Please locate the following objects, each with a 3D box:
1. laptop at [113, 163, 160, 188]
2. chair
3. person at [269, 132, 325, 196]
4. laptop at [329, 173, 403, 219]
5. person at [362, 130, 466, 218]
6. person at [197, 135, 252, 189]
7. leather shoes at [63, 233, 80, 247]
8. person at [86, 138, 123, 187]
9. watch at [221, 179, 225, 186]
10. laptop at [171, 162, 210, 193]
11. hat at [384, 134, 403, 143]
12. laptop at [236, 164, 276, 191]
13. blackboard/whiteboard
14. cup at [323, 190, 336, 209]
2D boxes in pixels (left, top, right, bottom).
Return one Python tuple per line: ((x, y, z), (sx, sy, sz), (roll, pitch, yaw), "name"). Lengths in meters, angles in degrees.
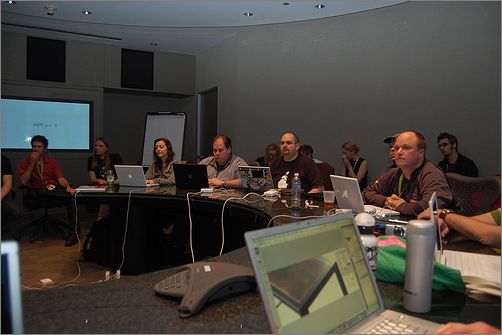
((-1.284, 0.101, 3.785), (0.402, 0.218, 0.388), (2, -4, 7), "laptop")
((-2.991, 0.524, 4.853), (0.670, 0.900, 0.686), (0, -15, -33), "chair")
((0.475, -0.045, 3.961), (0.462, 0.707, 0.780), (-6, 8, -41), "person")
((0.805, 0.189, 2.451), (0.300, 0.202, 0.334), (-1, 0, -20), "laptop")
((1.349, 0.079, 2.775), (0.629, 0.713, 0.878), (-1, -1, -13), "person")
((-0.345, -0.026, 4.074), (0.768, 0.707, 0.420), (4, 5, 25), "person")
((-2.372, 0.974, 4.420), (0.126, 0.146, 0.368), (1, -9, -9), "leather shoes")
((-2.325, -0.050, 5.226), (0.561, 0.767, 0.658), (-3, 14, -4), "person")
((-0.310, 0.170, 3.716), (0.043, 0.050, 0.054), (1, -9, -2), "watch")
((-0.689, 0.139, 3.369), (0.418, 0.283, 0.305), (1, 14, 27), "laptop")
((1.853, -0.391, 4.359), (0.210, 0.080, 0.132), (-24, 0, 8), "hat")
((0.125, 0.109, 3.290), (0.441, 0.279, 0.302), (1, -8, -38), "laptop")
((-1.787, -0.558, 6.910), (0.999, 1.127, 0.054), (-7, 20, -45), "blackboard/whiteboard")
((0.618, 0.249, 2.654), (0.116, 0.123, 0.120), (0, -2, 0), "cup")
